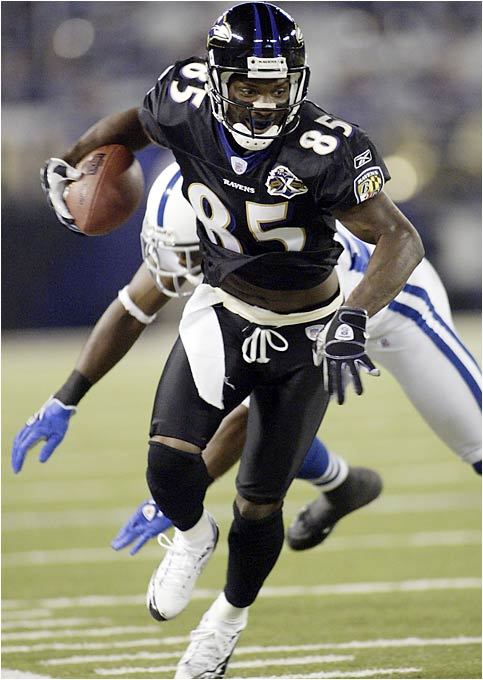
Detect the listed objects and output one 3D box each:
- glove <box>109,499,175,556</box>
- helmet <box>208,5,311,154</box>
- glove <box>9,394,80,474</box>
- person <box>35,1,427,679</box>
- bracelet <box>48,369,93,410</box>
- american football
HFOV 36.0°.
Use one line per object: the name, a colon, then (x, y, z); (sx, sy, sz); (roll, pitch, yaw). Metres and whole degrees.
glove: (-0.266, 0.535, 2.089); (0.064, 0.228, 0.122); (6, 45, -49)
helmet: (0.031, -0.516, 1.441); (0.201, 0.304, 0.159); (-3, 6, -2)
glove: (-0.515, 0.252, 1.969); (0.125, 0.229, 0.077); (43, -15, -1)
person: (0.051, 0.066, 1.598); (0.664, 1.491, 0.386); (-2, 6, 11)
bracelet: (-0.435, 0.133, 1.967); (0.068, 0.114, 0.048); (51, 0, 20)
american football: (-0.345, -0.368, 1.851); (0.157, 0.178, 0.235); (26, 57, 1)
